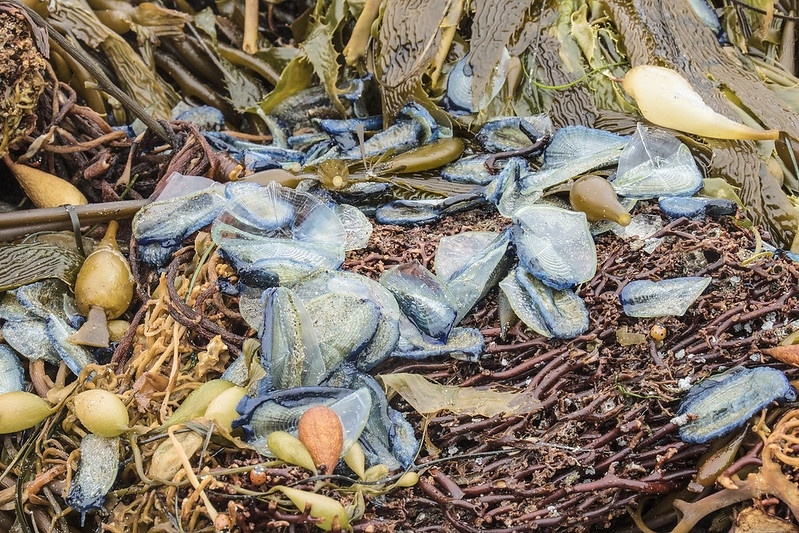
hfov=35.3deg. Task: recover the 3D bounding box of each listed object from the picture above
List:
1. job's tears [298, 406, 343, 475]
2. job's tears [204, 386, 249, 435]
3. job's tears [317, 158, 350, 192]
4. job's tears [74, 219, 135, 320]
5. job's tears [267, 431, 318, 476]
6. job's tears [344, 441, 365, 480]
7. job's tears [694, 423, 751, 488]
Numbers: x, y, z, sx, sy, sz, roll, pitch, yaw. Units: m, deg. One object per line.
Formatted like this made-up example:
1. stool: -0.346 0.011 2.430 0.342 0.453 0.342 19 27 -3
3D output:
1. job's tears: -0.143 0.313 2.274 0.069 0.058 0.122 -11 83 -4
2. job's tears: -0.326 0.265 2.339 0.052 0.053 0.095 47 64 -10
3. job's tears: -0.138 -0.195 2.600 0.062 0.038 0.062 -29 100 5
4. job's tears: -0.590 0.006 2.517 0.088 0.086 0.175 6 59 -2
5. job's tears: -0.199 0.331 2.293 0.108 0.050 0.028 43 19 9
6. job's tears: -0.074 0.364 2.312 0.035 0.055 0.055 -32 57 -33
7. job's tears: 0.640 0.347 2.423 0.163 0.040 0.055 -46 47 -11
